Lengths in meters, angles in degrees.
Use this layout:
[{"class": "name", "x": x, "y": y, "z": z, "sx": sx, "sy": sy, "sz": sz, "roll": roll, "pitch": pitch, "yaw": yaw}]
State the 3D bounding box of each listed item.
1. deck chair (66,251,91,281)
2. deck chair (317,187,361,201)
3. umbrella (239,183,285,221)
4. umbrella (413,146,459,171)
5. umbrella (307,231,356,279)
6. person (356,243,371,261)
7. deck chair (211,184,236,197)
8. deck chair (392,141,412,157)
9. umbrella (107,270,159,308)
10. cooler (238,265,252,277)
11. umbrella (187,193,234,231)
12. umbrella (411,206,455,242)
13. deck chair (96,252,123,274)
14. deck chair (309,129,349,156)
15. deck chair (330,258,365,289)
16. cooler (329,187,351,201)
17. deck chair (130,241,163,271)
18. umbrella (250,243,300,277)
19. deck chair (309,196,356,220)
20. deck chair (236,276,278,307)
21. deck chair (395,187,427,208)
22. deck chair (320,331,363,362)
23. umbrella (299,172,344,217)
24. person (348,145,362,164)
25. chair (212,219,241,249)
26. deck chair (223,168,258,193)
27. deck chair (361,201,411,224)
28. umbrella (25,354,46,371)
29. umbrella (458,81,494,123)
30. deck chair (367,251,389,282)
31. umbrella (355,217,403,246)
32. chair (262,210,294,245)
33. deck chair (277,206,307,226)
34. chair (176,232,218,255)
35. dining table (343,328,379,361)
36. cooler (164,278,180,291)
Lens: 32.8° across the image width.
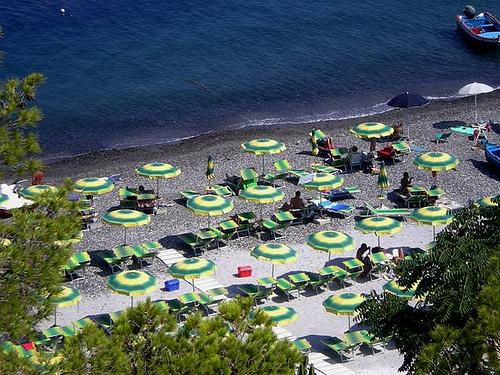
[{"class": "deck chair", "x": -6.574, "y": 2.904, "z": 31.672, "sx": 1.325, "sy": 0.452, "sz": 1.509, "roll": -13, "pitch": 17, "yaw": -12}, {"class": "deck chair", "x": 4.047, "y": 0.307, "z": 38.300, "sx": 2.332, "sy": 0.628, "sz": 0.536, "roll": -4, "pitch": 48, "yaw": 3}, {"class": "umbrella", "x": 0.434, "y": 0.699, "z": 35.117, "sx": 2.016, "sy": 1.353, "sz": 1.630, "roll": 3, "pitch": 18, "yaw": 5}, {"class": "umbrella", "x": 8.332, "y": -1.236, "z": 37.505, "sx": 1.737, "sy": 0.458, "sz": 1.363, "roll": -7, "pitch": 27, "yaw": 5}, {"class": "umbrella", "x": 3.061, "y": 2.586, "z": 31.747, "sx": 1.602, "sy": 1.226, "sz": 1.441, "roll": 15, "pitch": 35, "yaw": 25}, {"class": "person", "x": 4.299, "y": 2.447, "z": 32.137, "sx": 0.507, "sy": 0.557, "sz": 0.700, "roll": -6, "pitch": 15, "yaw": 2}, {"class": "deck chair", "x": -1.207, "y": 0.248, "z": 38.262, "sx": 0.696, "sy": 0.162, "sz": 0.829, "roll": 8, "pitch": 16, "yaw": -28}, {"class": "deck chair", "x": 7.582, "y": -1.885, "z": 42.592, "sx": 1.046, "sy": 0.325, "sz": 0.816, "roll": -6, "pitch": 33, "yaw": -8}, {"class": "umbrella", "x": -4.035, "y": 3.537, "z": 28.912, "sx": 1.784, "sy": 1.213, "sz": 1.412, "roll": -1, "pitch": 26, "yaw": -7}, {"class": "cooler", "x": -0.209, "y": 3.140, "z": 31.816, "sx": 0.678, "sy": 0.312, "sz": 0.385, "roll": -4, "pitch": 7, "yaw": -30}, {"class": "umbrella", "x": -1.655, "y": 1.146, "z": 33.987, "sx": 1.573, "sy": 0.934, "sz": 1.412, "roll": -6, "pitch": 13, "yaw": -31}, {"class": "umbrella", "x": 7.030, "y": 1.132, "z": 32.475, "sx": 1.571, "sy": 0.551, "sz": 1.016, "roll": 4, "pitch": 17, "yaw": 31}, {"class": "deck chair", "x": -5.303, "y": 2.875, "z": 32.228, "sx": 0.596, "sy": 0.618, "sz": 0.943, "roll": -13, "pitch": 17, "yaw": -23}, {"class": "deck chair", "x": 4.076, "y": -2.018, "z": 42.383, "sx": 0.874, "sy": 0.940, "sz": 2.814, "roll": -33, "pitch": 43, "yaw": -31}, {"class": "deck chair", "x": 3.738, "y": 3.184, "z": 31.447, "sx": 0.911, "sy": 0.795, "sz": 1.391, "roll": -9, "pitch": 28, "yaw": -27}, {"class": "cooler", "x": 4.010, "y": 0.341, "z": 38.087, "sx": 0.990, "sy": 0.307, "sz": 0.528, "roll": -6, "pitch": 27, "yaw": -12}, {"class": "deck chair", "x": -4.049, "y": 2.647, "z": 32.561, "sx": 0.760, "sy": 0.491, "sz": 1.380, "roll": -6, "pitch": 28, "yaw": -27}, {"class": "umbrella", "x": 0.838, "y": 2.602, "z": 30.837, "sx": 1.350, "sy": 0.858, "sz": 1.181, "roll": -15, "pitch": 30, "yaw": -31}, {"class": "deck chair", "x": 3.447, "y": 0.896, "z": 36.629, "sx": 2.036, "sy": 0.391, "sz": 0.812, "roll": 16, "pitch": 33, "yaw": 22}, {"class": "deck chair", "x": 0.364, "y": 3.672, "z": 30.462, "sx": 0.877, "sy": 0.789, "sz": 1.466, "roll": -14, "pitch": 28, "yaw": -37}, {"class": "deck chair", "x": 7.330, "y": 0.434, "z": 37.372, "sx": 0.852, "sy": 0.537, "sz": 1.219, "roll": 0, "pitch": 14, "yaw": -3}, {"class": "deck chair", "x": 3.162, "y": 5.127, "z": 27.359, "sx": 0.774, "sy": 0.721, "sz": 1.488, "roll": -13, "pitch": 22, "yaw": -33}, {"class": "umbrella", "x": 3.284, "y": 0.204, "z": 36.574, "sx": 2.427, "sy": 1.758, "sz": 2.019, "roll": 7, "pitch": 29, "yaw": 15}, {"class": "person", "x": 5.098, "y": -1.672, "z": 41.338, "sx": 0.898, "sy": 0.796, "sz": 0.917, "roll": 0, "pitch": 28, "yaw": 0}, {"class": "chair", "x": -0.929, "y": 1.900, "z": 34.336, "sx": 1.089, "sy": 0.994, "sz": 1.263, "roll": -6, "pitch": 28, "yaw": -13}, {"class": "deck chair", "x": -0.342, "y": -0.452, "z": 39.518, "sx": 1.119, "sy": 0.897, "sz": 2.240, "roll": -5, "pitch": 10, "yaw": -18}, {"class": "deck chair", "x": 5.542, "y": 1.122, "z": 35.835, "sx": 2.555, "sy": 0.671, "sz": 0.713, "roll": 0, "pitch": 31, "yaw": -1}, {"class": "umbrella", "x": -4.749, "y": 3.913, "z": 18.739, "sx": 0.482, "sy": 0.214, "sz": 0.373, "roll": 2, "pitch": 22, "yaw": -11}, {"class": "umbrella", "x": 13.201, "y": -4.953, "z": 48.279, "sx": 3.016, "sy": 2.315, "sz": 2.410, "roll": -2, "pitch": 21, "yaw": 2}, {"class": "deck chair", "x": 4.825, "y": 3.019, "z": 31.624, "sx": 0.889, "sy": 1.072, "sz": 0.958, "roll": -18, "pitch": 53, "yaw": 29}, {"class": "umbrella", "x": 4.890, "y": 1.507, "z": 32.218, "sx": 1.736, "sy": 0.520, "sz": 0.921, "roll": -3, "pitch": 14, "yaw": 4}, {"class": "chair", "x": 1.367, "y": 1.633, "z": 34.996, "sx": 0.927, "sy": 1.105, "sz": 1.793, "roll": -11, "pitch": 30, "yaw": -25}, {"class": "deck chair", "x": 1.805, "y": 1.212, "z": 36.038, "sx": 1.288, "sy": 0.803, "sz": 0.811, "roll": -1, "pitch": 19, "yaw": -9}, {"class": "chair", "x": -2.157, "y": 2.182, "z": 33.596, "sx": 0.723, "sy": 0.495, "sz": 1.395, "roll": -9, "pitch": 29, "yaw": -35}, {"class": "dining table", "x": 3.628, "y": 5.057, "z": 27.654, "sx": 1.068, "sy": 0.799, "sz": 1.310, "roll": -4, "pitch": 14, "yaw": 5}, {"class": "cooler", "x": -2.887, "y": 3.593, "z": 30.951, "sx": 0.536, "sy": 0.258, "sz": 0.336, "roll": -6, "pitch": 16, "yaw": -24}]
